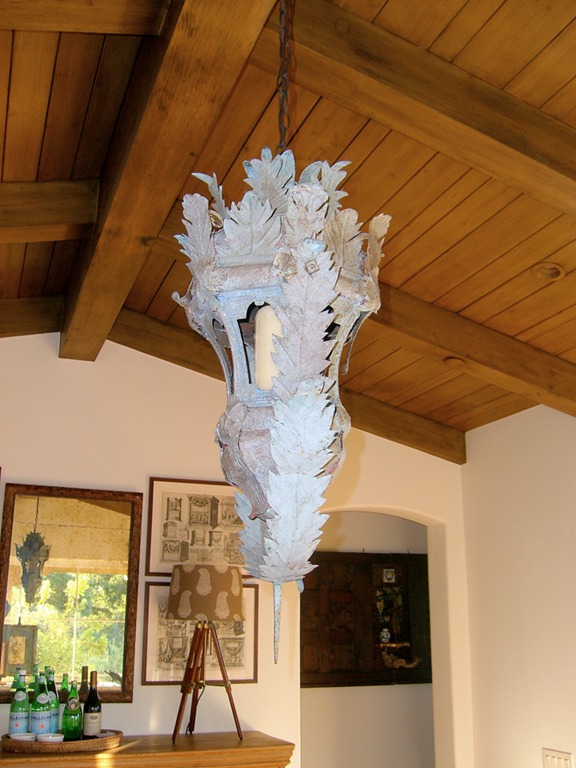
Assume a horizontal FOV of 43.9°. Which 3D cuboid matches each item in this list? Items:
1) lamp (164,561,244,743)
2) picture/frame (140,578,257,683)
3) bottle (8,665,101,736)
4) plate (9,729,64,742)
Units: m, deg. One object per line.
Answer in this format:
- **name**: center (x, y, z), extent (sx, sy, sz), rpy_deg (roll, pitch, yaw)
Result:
- **lamp**: center (-0.421, 1.316, 3.539), extent (0.376, 0.790, 0.356), rpy_deg (-6, -21, 17)
- **picture/frame**: center (-0.481, 1.253, 3.639), extent (0.628, 0.510, 0.022), rpy_deg (7, -20, -24)
- **bottle**: center (-1.023, 1.443, 3.261), extent (0.287, 0.268, 0.470), rpy_deg (-7, -19, 23)
- **plate**: center (-1.094, 1.508, 3.077), extent (0.247, 0.034, 0.186), rpy_deg (7, -18, -18)
